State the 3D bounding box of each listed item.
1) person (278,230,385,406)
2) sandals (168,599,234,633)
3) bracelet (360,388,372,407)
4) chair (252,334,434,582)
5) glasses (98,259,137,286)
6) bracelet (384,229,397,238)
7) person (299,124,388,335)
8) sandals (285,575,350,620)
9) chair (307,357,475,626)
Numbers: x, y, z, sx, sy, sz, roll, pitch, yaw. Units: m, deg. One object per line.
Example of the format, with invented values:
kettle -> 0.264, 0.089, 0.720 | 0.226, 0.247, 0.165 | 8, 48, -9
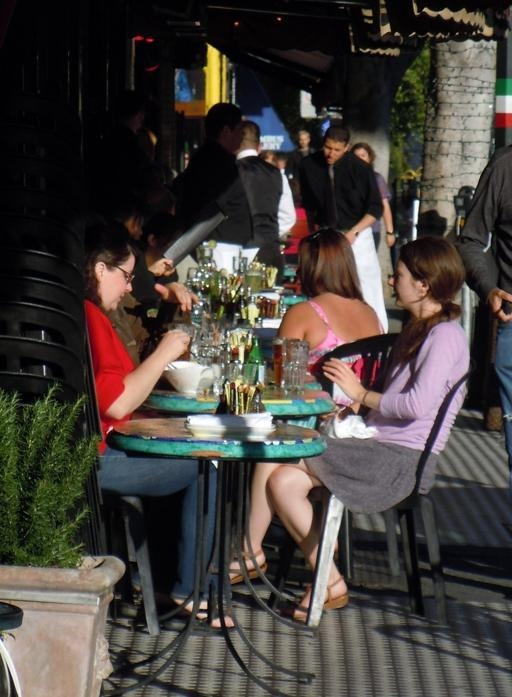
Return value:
person -> 0.368, -0.269, 3.783 | 0.467, 0.877, 0.537 | 23, 47, 20
sandals -> -0.216, 1.043, 2.628 | 0.261, 0.075, 0.253 | 16, -4, -3
bracelet -> 0.489, 0.226, 3.006 | 0.060, 0.050, 0.042 | 2, 1, 0
chair -> 0.472, 0.424, 3.380 | 0.720, 1.067, 0.687 | -9, -9, 42
glasses -> -0.582, -0.313, 2.749 | 0.145, 0.044, 0.142 | 15, 0, 11
bracelet -> 2.234, -1.940, 11.103 | 0.199, 0.110, 0.264 | 2, 1, 10
person -> 0.964, -1.213, 7.804 | 0.934, 2.795, 0.760 | 5, 43, 15
sandals -> 0.270, 1.074, 2.946 | 0.329, 0.127, 0.110 | -4, 6, -35
chair -> 0.572, 0.632, 2.946 | 0.658, 1.191, 0.557 | 0, -1, 12
